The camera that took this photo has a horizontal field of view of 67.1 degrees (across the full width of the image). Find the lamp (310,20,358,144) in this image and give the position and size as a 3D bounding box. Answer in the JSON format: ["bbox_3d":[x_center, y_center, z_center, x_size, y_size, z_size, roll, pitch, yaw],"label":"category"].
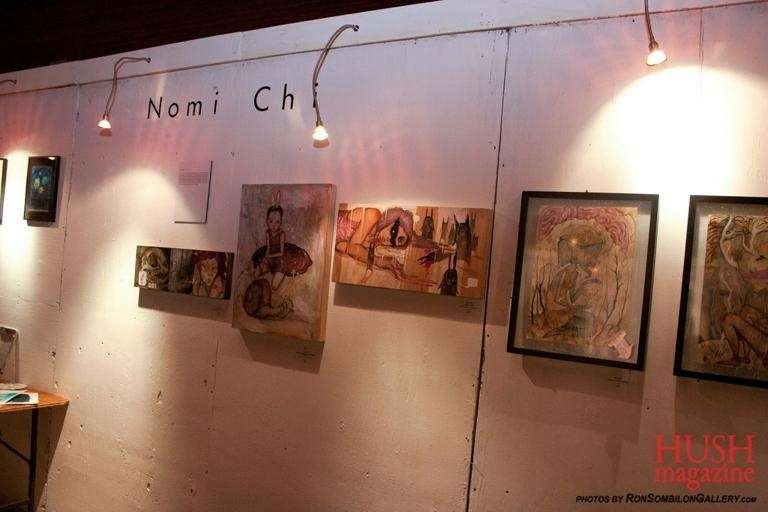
[{"bbox_3d":[-0.380,-1.172,3.876,0.330,0.866,0.304,4,0,12],"label":"lamp"}]

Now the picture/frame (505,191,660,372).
[{"bbox_3d":[1.216,0.153,3.424,0.964,1.288,0.050,6,2,16],"label":"picture/frame"}]

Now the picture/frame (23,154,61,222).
[{"bbox_3d":[-2.866,-0.566,4.870,0.507,0.708,0.069,7,0,25],"label":"picture/frame"}]
